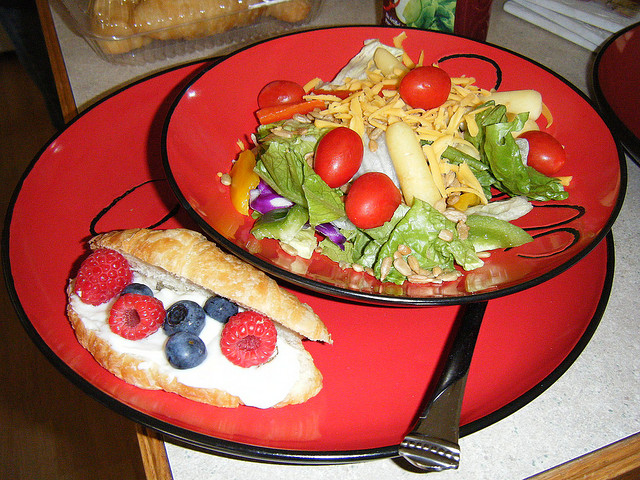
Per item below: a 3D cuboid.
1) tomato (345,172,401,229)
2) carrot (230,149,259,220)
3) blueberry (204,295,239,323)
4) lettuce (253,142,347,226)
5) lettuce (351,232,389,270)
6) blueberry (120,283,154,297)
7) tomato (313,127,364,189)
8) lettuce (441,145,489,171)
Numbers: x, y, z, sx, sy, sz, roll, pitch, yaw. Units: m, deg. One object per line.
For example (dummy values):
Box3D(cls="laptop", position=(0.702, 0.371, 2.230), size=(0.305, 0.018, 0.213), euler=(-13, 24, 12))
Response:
Box3D(cls="tomato", position=(0.186, -0.138, 1.924), size=(0.220, 0.169, 0.162), euler=(-1, 27, 0))
Box3D(cls="carrot", position=(-0.294, -0.249, 2.159), size=(0.126, 0.268, 0.061), euler=(-3, 74, -11))
Box3D(cls="blueberry", position=(-0.345, 0.239, 1.944), size=(0.096, 0.083, 0.056), euler=(20, 22, -11))
Box3D(cls="lettuce", position=(-0.076, -0.214, 2.059), size=(0.381, 0.101, 0.201), euler=(43, 99, 24))
Box3D(cls="lettuce", position=(0.166, 0.036, 1.969), size=(0.087, 0.042, 0.149), euler=(-8, 75, 34))
Box3D(cls="blueberry", position=(-0.635, 0.171, 1.945), size=(0.059, 0.061, 0.032), euler=(19, 80, -11))
Box3D(cls="tomato", position=(0.067, -0.303, 2.072), size=(0.125, 0.192, 0.216), euler=(-18, 32, -33))
Box3D(cls="lettuce", position=(0.558, -0.314, 2.149), size=(0.136, 0.026, 0.032), euler=(33, 47, 8))
